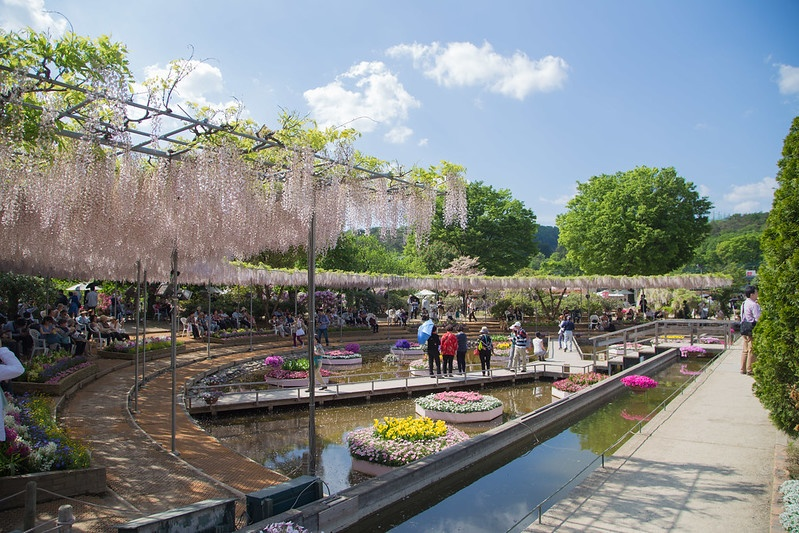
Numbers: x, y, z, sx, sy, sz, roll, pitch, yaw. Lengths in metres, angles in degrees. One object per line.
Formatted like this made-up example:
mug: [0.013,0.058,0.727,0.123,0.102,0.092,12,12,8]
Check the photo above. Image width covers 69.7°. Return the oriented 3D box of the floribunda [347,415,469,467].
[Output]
floribunda: [0.152,3.803,12.720,1.269,0.454,1.411,1,0,38]

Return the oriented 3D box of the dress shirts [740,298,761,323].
dress shirts: [8.917,1.092,14.574,0.349,0.538,0.998,-7,-5,26]

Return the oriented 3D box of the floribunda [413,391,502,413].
floribunda: [1.637,3.851,16.252,2.280,0.452,1.308,-5,-4,4]

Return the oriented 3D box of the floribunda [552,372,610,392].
floribunda: [5.677,3.667,18.373,0.832,0.192,0.805,-13,5,-30]
